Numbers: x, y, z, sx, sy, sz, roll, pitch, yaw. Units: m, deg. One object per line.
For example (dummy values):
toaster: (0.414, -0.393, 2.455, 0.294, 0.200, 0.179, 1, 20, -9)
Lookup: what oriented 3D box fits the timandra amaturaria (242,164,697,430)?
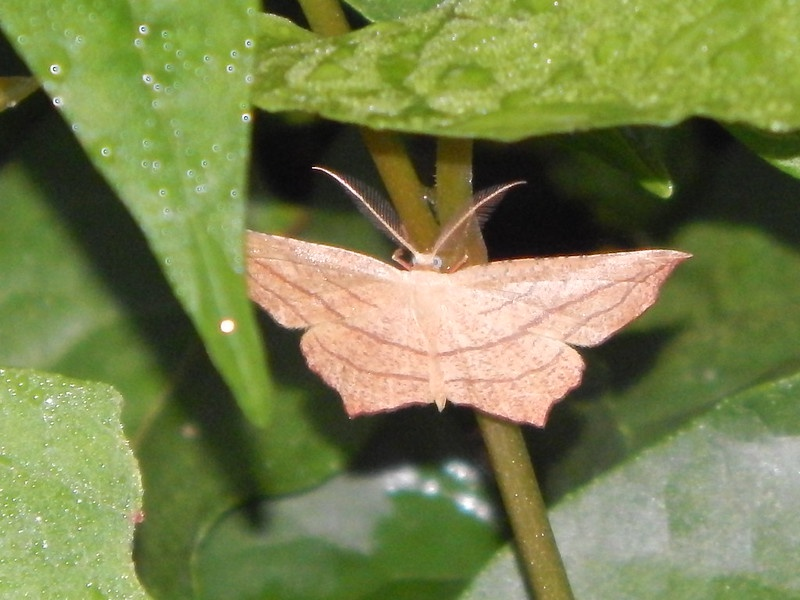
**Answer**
timandra amaturaria: (0.039, -0.050, 0.625, 0.272, 0.066, 0.148, 2, -70, 4)
